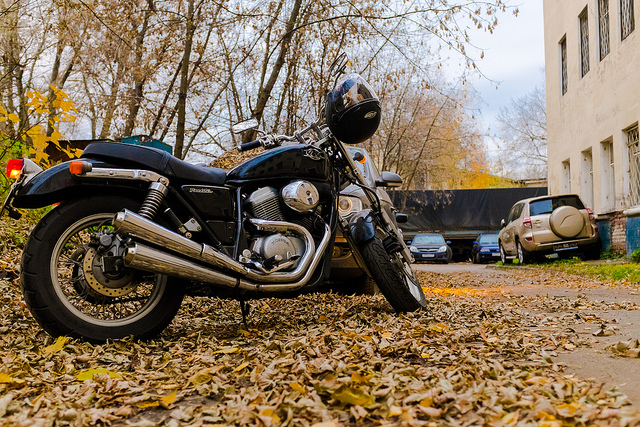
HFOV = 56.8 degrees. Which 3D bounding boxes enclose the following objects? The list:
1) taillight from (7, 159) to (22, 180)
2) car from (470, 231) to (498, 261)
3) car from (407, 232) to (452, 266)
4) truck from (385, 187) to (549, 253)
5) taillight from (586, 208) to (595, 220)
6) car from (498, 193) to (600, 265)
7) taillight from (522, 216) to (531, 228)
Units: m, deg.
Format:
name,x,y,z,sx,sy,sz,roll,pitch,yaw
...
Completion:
name,x,y,z,sx,sy,sz,roll,pitch,yaw
taillight,-2.663,-0.410,5.224,0.157,0.200,0.070,7,13,26
car,6.989,1.407,24.977,0.761,0.690,1.598,-1,-11,0
car,4.522,1.380,24.468,1.120,0.859,1.893,-2,-11,8
truck,6.747,0.464,29.858,9.265,3.424,2.967,-1,0,35
taillight,6.890,0.009,14.983,0.259,0.271,0.263,1,8,39
car,6.214,0.400,16.282,1.498,1.222,2.838,-4,0,-2
taillight,5.596,0.209,15.953,0.097,0.297,0.336,-3,12,-12
